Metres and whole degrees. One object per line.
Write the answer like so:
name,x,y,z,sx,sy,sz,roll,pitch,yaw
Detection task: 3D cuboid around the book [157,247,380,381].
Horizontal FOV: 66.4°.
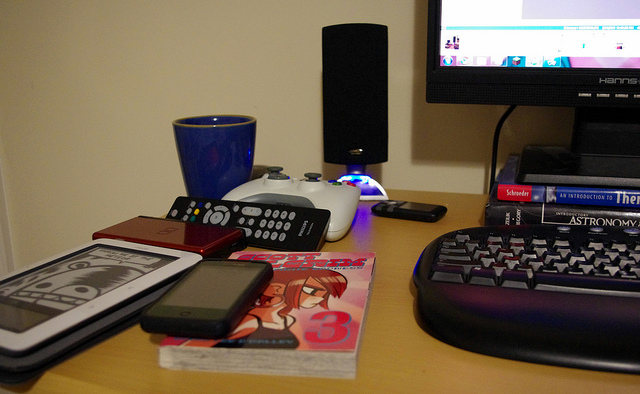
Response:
book,-0.058,0.149,0.691,0.263,0.094,0.221,2,14,6

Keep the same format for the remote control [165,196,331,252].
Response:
remote control,-0.135,0.045,0.861,0.291,0.021,0.091,7,53,17

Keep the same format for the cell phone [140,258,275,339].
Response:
cell phone,-0.146,0.115,0.646,0.098,0.029,0.126,3,18,17

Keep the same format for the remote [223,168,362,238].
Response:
remote,-0.033,-0.007,0.904,0.217,0.077,0.143,7,11,22

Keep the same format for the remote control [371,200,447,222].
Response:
remote control,0.190,0.015,1.001,0.180,0.030,0.121,2,11,21

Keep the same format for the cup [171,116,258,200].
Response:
cup,-0.181,-0.088,1.021,0.178,0.173,0.171,-1,8,0

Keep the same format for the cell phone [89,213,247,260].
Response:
cell phone,-0.258,0.060,0.809,0.177,0.023,0.098,5,17,17
